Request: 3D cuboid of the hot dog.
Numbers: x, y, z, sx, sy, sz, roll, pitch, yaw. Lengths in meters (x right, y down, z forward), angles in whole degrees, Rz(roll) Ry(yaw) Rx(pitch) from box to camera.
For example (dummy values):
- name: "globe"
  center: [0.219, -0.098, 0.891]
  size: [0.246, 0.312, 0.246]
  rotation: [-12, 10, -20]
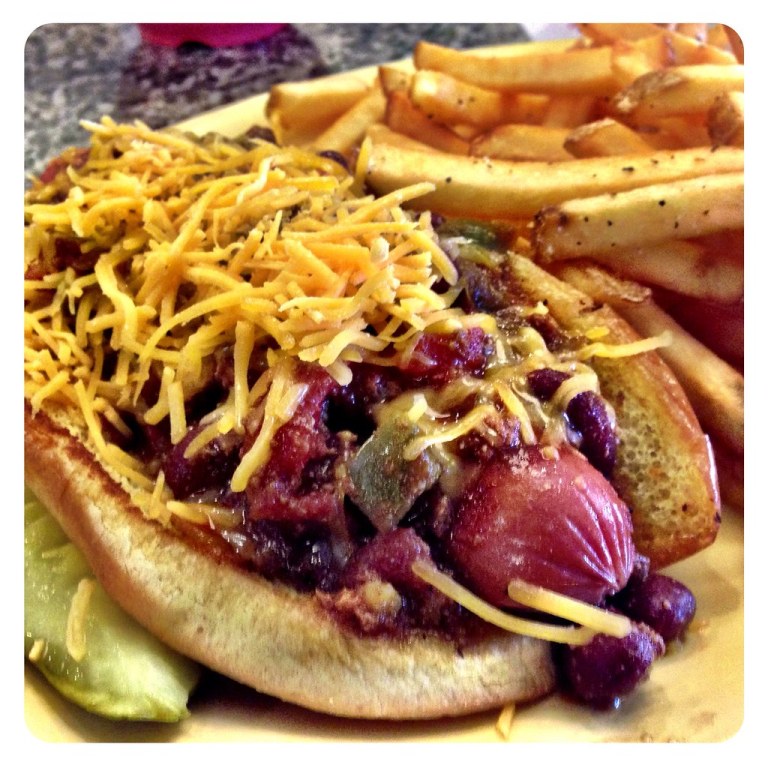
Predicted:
- name: "hot dog"
  center: [-0.105, 0.144, 1.436]
  size: [0.760, 0.466, 1.071]
  rotation: [-27, 52, -29]
